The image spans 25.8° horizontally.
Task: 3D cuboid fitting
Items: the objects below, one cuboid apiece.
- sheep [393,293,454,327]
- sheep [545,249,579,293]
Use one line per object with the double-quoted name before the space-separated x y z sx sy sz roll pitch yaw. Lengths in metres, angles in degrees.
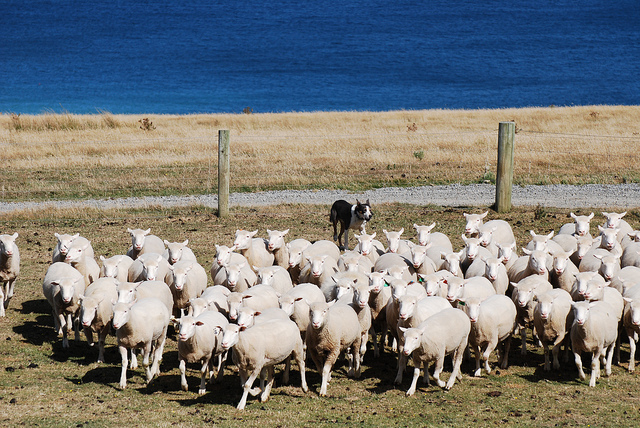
"sheep" 9.974 9.191 135.687 2.460 3.792 7.246 -8 -1 39
"sheep" 23.786 5.418 138.941 3.007 4.462 2.494 3 -6 1
